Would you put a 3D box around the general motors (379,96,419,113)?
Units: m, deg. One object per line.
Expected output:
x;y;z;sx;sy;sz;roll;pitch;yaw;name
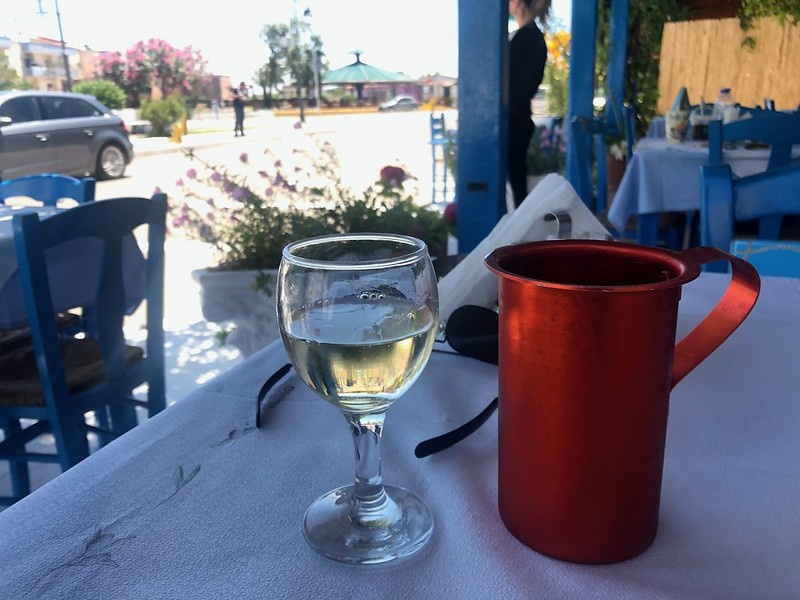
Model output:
0.070;-9.203;27.547;1.194;0.604;0.735;1;46;-4;general motors

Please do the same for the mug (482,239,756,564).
0.173;0.067;0.476;0.198;0.223;0.143;-13;19;-33;mug
